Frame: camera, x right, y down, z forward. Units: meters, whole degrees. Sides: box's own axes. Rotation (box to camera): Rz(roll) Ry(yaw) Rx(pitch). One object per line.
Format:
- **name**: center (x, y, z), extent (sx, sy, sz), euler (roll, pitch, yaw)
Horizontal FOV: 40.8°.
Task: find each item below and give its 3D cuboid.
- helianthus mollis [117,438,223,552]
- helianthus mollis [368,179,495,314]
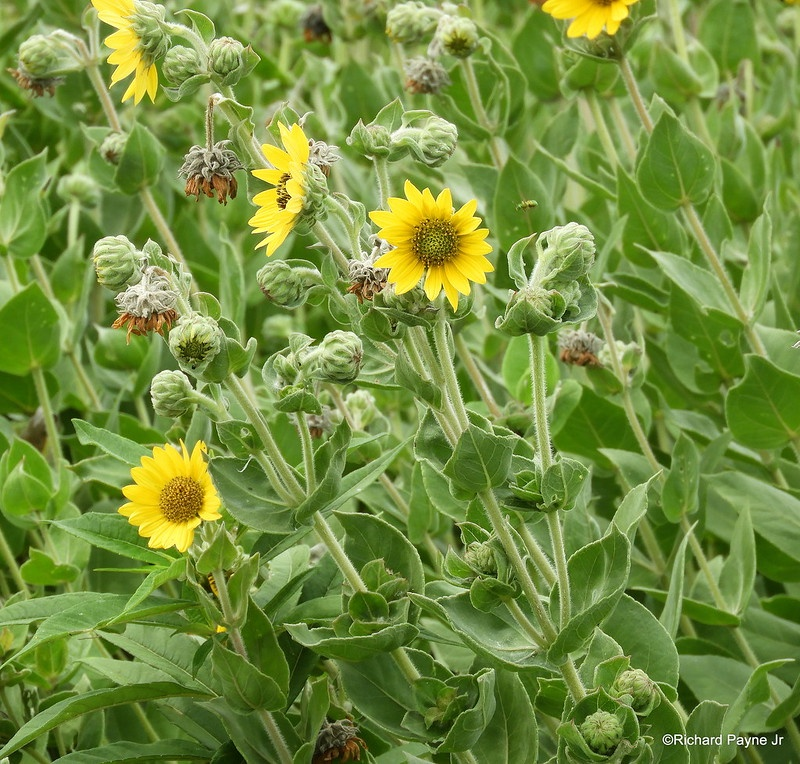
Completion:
- **helianthus mollis**: center (-0.252, 0.114, 1.207), extent (0.046, 0.111, 0.130), euler (1, 55, -55)
- **helianthus mollis**: center (0.029, -0.157, 1.107), extent (0.163, 0.071, 0.163), euler (20, 24, 27)
